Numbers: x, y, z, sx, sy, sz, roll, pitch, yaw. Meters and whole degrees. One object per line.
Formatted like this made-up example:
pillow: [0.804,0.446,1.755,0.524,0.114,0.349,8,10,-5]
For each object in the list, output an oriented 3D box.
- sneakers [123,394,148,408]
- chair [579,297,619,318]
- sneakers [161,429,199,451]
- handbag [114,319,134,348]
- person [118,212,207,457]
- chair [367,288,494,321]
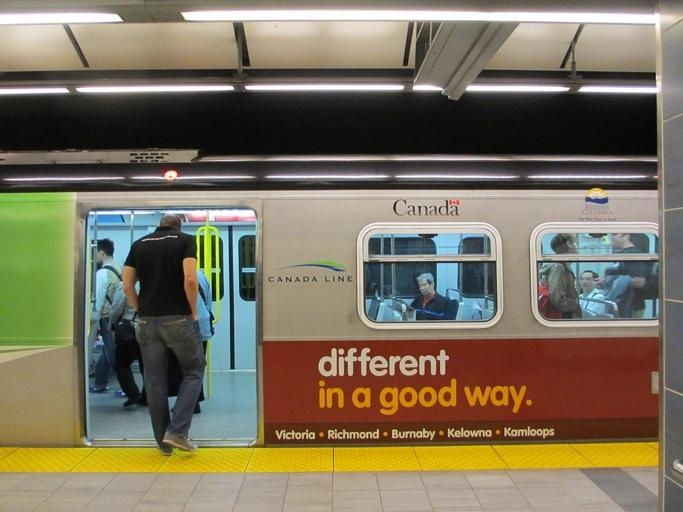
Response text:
sneakers: [-2.710,1.888,7.910,0.392,0.180,0.133,-1,-5,-1]
chair: [2.869,0.576,6.667,0.301,0.240,0.117,3,-1,-1]
sneakers: [-1.740,1.976,6.468,0.348,0.270,0.255,-1,-1,-16]
handbag: [-2.770,0.976,7.677,0.307,0.444,0.239,-1,0,-6]
person: [-1.919,0.809,6.512,0.809,2.564,0.316,-1,-2,7]
chair: [0.988,0.547,6.382,1.341,0.376,0.536,-1,3,0]
